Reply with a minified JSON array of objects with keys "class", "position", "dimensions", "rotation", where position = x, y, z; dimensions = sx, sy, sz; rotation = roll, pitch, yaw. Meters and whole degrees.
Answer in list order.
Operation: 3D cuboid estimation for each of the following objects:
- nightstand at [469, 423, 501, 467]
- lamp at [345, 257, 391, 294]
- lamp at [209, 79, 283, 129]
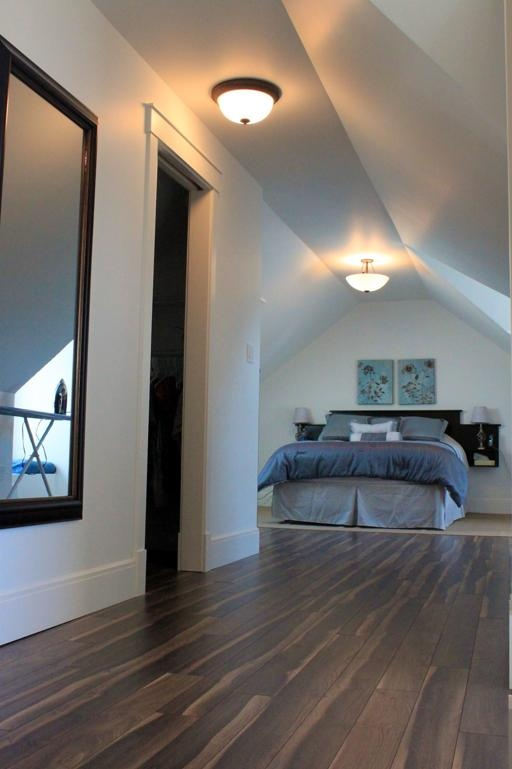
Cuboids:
[{"class":"nightstand","position":[2.951,0.772,6.665],"dimensions":[0.445,0.698,0.326],"rotation":[0,-5,16]},{"class":"lamp","position":[1.232,-1.182,5.750],"dimensions":[0.334,0.332,0.413],"rotation":[0,-9,13]},{"class":"lamp","position":[-0.055,-1.440,2.701],"dimensions":[0.367,0.163,0.372],"rotation":[-9,14,-35]}]
